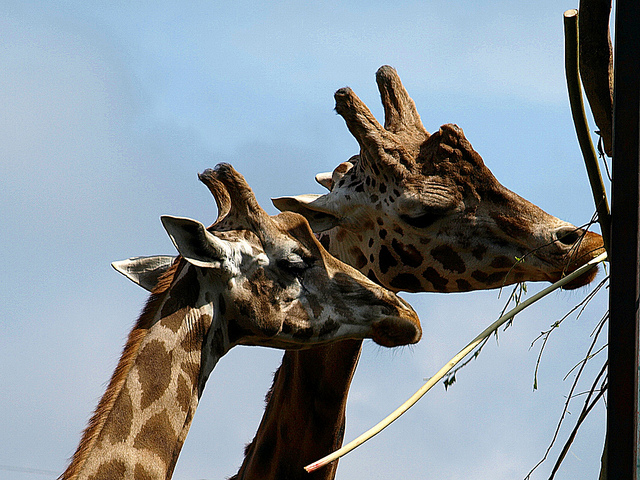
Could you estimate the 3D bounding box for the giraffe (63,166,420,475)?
[{"bbox_3d":[-0.794,0.483,10.649,1.268,2.991,1.373,-6,-74,51],"label":"giraffe"}]
